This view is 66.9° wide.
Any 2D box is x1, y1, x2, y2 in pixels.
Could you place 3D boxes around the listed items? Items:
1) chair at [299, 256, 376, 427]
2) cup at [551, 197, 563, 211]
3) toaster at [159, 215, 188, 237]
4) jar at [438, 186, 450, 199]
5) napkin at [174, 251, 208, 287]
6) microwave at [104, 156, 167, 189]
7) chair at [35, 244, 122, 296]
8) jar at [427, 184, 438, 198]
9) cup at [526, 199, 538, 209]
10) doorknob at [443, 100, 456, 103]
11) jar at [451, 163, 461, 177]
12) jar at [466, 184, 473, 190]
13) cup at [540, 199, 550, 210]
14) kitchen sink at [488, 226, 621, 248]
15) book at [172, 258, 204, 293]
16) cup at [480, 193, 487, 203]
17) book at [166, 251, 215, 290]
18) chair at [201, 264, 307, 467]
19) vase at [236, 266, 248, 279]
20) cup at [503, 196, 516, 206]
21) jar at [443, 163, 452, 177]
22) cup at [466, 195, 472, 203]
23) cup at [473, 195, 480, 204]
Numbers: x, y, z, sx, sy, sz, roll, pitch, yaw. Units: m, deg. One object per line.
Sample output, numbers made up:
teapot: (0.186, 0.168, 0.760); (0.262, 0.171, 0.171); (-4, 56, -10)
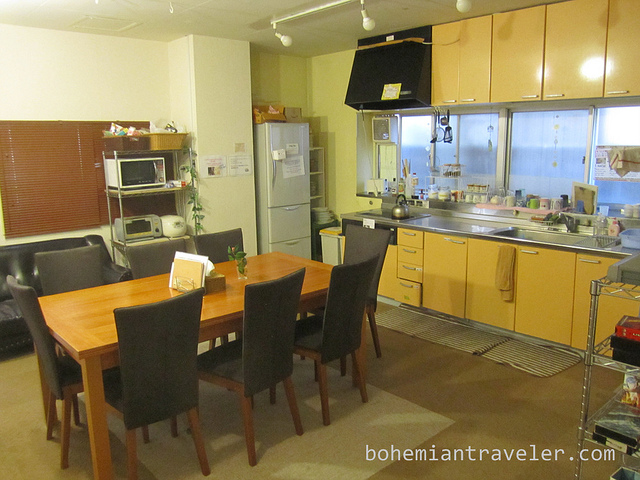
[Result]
chair: (0.079, 0.722, 3.793); (0.533, 1.221, 0.515); (-13, 17, -41)
cup: (2.411, -0.371, 4.919); (0.119, 0.130, 0.116); (-1, 0, 0)
toaster: (-1.718, -0.170, 5.684); (0.237, 0.203, 0.261); (-8, 14, -39)
jar: (1.463, -0.584, 5.787); (0.141, 0.156, 0.143); (-1, 6, 0)
napkin: (-0.980, 0.222, 3.639); (0.251, 0.257, 0.083); (2, 1, 28)
microwave: (-2.103, -0.779, 5.523); (0.581, 0.325, 0.430); (-10, 15, -32)
chair: (-2.146, 0.267, 4.235); (0.404, 0.528, 0.382); (-10, 16, -40)
jar: (1.361, -0.607, 5.918); (0.150, 0.148, 0.107); (1, 4, 25)
cup: (2.220, -0.385, 5.053); (0.089, 0.093, 0.072); (4, 14, 25)
doorknob: (1.436, -1.549, 5.368); (0.026, 0.027, 0.137); (-11, 16, -35)
jar: (1.602, -0.832, 5.723); (0.109, 0.142, 0.158); (2, 13, 14)
jar: (1.720, -0.628, 5.589); (0.054, 0.033, 0.053); (-2, 10, 0)
cup: (2.309, -0.379, 4.980); (0.095, 0.105, 0.095); (-1, 3, 0)
kitchen sink: (2.247, -0.014, 4.649); (1.096, 0.103, 0.475); (10, 17, 43)
book: (-0.977, 0.259, 3.596); (0.233, 0.204, 0.028); (9, 11, 42)
cup: (1.847, -0.491, 5.483); (0.075, 0.096, 0.046); (1, 13, 10)
book: (-0.968, 0.235, 3.657); (0.334, 0.327, 0.079); (6, 0, 37)
chair: (-0.456, 0.841, 3.378); (0.730, 1.276, 0.555); (-3, 13, -4)
vase: (-0.645, 0.259, 4.035); (0.097, 0.160, 0.101); (1, 3, -16)
cup: (2.036, -0.433, 5.228); (0.135, 0.100, 0.100); (5, 14, 28)
jar: (1.517, -0.839, 5.780); (0.100, 0.152, 0.219); (1, 13, 12)
cup: (1.706, -0.481, 5.566); (0.070, 0.068, 0.070); (-1, 5, 0)
cup: (1.779, -0.477, 5.522); (0.073, 0.135, 0.073); (-3, 8, 0)
